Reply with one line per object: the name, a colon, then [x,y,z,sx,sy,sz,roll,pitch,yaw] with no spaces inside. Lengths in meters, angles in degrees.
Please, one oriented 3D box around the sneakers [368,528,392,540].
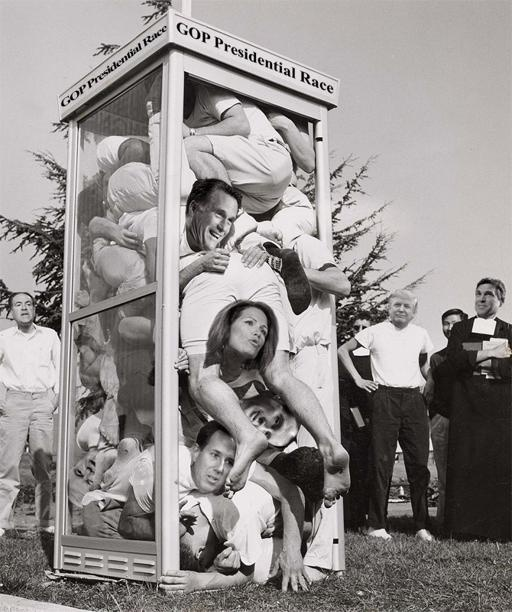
sneakers: [0.955,1.768,7.566,0.068,0.071,0.172,4,-13,-31]
